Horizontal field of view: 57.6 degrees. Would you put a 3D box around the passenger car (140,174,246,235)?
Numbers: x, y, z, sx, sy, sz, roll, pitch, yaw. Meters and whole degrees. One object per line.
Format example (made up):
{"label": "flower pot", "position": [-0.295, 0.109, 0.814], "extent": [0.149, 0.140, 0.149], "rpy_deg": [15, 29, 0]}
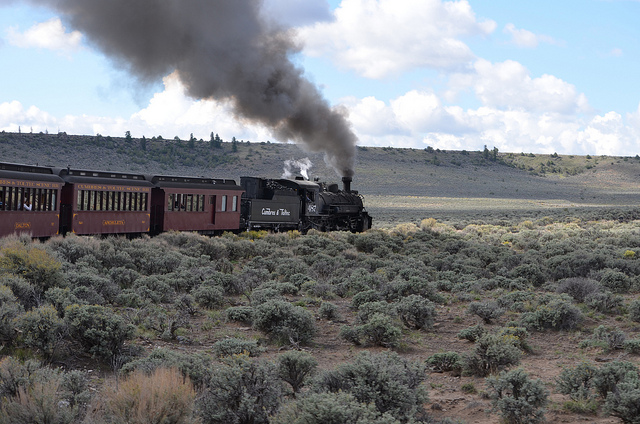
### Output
{"label": "passenger car", "position": [-7.537, -0.368, 35.513], "extent": [1.063, 3.555, 6.134], "rpy_deg": [-7, -8, 40]}

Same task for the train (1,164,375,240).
{"label": "train", "position": [-7.141, -0.717, 36.177], "extent": [2.065, 5.384, 24.961], "rpy_deg": [-7, -8, 38]}
